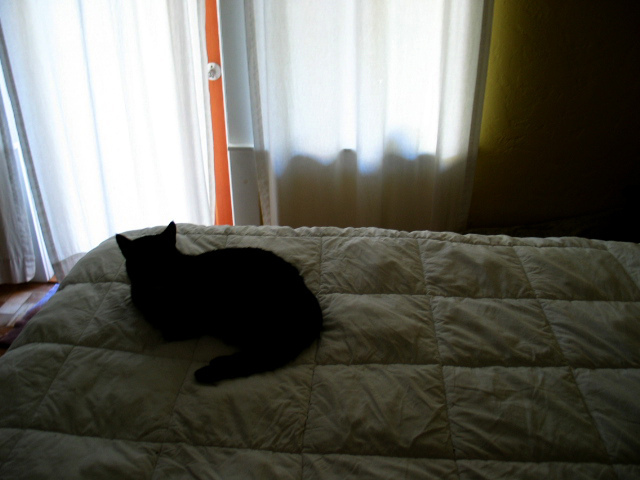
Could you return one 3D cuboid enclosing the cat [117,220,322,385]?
[{"bbox_3d":[-0.365,0.232,1.741,0.640,0.300,0.522,14,27,6],"label":"cat"}]
